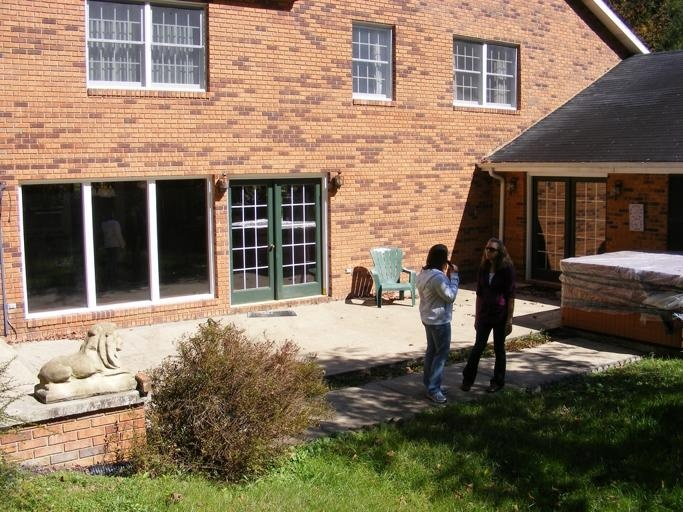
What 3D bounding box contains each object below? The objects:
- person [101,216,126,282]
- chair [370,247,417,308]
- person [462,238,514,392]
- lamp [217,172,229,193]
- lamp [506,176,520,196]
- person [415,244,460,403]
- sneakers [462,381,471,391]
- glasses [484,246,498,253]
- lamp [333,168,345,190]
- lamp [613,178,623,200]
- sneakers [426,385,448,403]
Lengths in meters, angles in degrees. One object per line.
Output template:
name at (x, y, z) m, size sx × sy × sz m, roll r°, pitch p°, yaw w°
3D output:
person at (-4.707, -0.107, 12.738) m, size 0.452 × 1.429 × 0.271 m, roll -5°, pitch 11°, yaw -25°
chair at (1.146, 0.502, 14.573) m, size 1.100 × 1.328 × 1.134 m, roll -5°, pitch 6°, yaw -31°
person at (2.098, 0.834, 8.797) m, size 0.661 × 2.173 × 0.415 m, roll 2°, pitch 10°, yaw 11°
lamp at (-2.545, -1.524, 13.094) m, size 0.246 × 0.422 × 0.191 m, roll -6°, pitch 11°, yaw -31°
lamp at (4.681, -1.929, 16.936) m, size 0.097 × 0.529 × 0.419 m, roll -8°, pitch 13°, yaw -40°
person at (1.289, 0.914, 8.423) m, size 0.567 × 2.136 × 0.411 m, roll 3°, pitch 10°, yaw 19°
sneakers at (1.796, 1.855, 8.855) m, size 0.134 × 0.129 × 0.131 m, roll 1°, pitch -2°, yaw -6°
glasses at (2.072, -0.089, 8.609) m, size 0.098 × 0.082 × 0.224 m, roll -4°, pitch 10°, yaw -25°
lamp at (-0.078, -1.778, 14.577) m, size 0.179 × 0.464 × 0.310 m, roll 7°, pitch 12°, yaw 34°
lamp at (6.634, -1.592, 14.739) m, size 0.221 × 0.414 × 0.066 m, roll 6°, pitch 11°, yaw 32°
sneakers at (1.314, 1.905, 8.523) m, size 0.129 × 0.141 × 0.334 m, roll -1°, pitch 3°, yaw -25°
